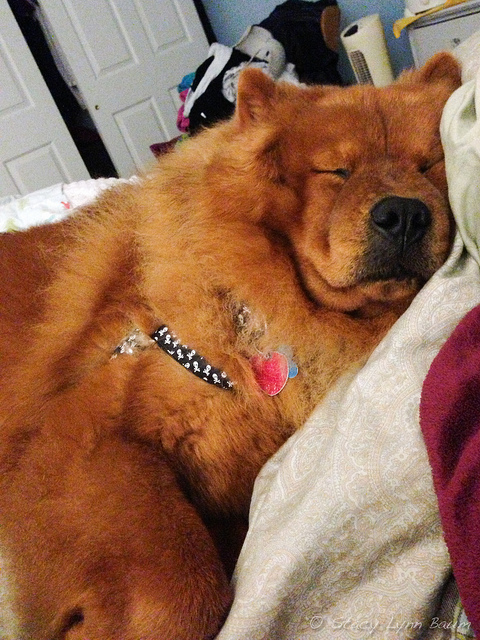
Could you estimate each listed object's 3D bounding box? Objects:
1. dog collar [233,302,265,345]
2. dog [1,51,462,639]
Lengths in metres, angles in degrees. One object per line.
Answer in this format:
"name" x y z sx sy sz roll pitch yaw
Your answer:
"dog collar" 0.014 0.007 1.002 0.052 0.059 0.036 1 8 9
"dog" 0.061 0.145 1.083 0.710 0.904 0.739 -6 30 -14
